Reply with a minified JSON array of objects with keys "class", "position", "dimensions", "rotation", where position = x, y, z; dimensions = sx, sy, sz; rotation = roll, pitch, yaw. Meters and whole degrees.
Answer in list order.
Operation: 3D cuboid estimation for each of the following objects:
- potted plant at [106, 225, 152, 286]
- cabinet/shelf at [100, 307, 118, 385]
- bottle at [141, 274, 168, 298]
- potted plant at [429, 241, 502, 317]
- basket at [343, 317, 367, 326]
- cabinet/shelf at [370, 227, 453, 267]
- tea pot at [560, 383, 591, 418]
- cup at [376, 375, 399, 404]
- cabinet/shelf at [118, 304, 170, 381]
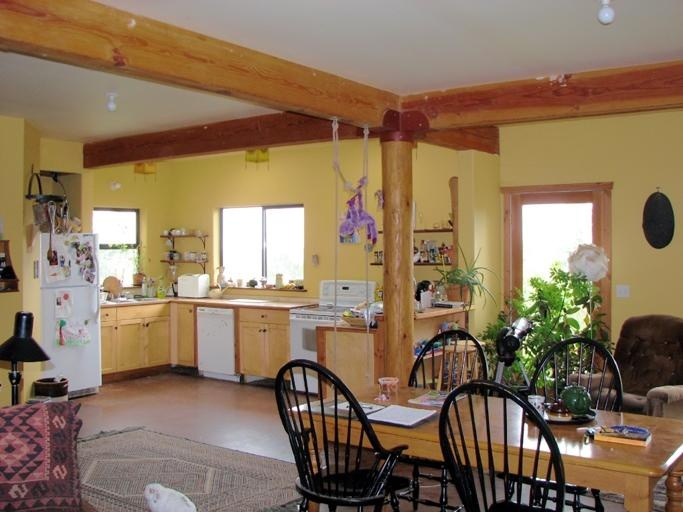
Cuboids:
[{"class":"potted plant","position":[-3.336,0.118,7.972],"dimensions":[0.234,0.721,0.660],"rotation":[0,2,29]},{"class":"cabinet/shelf","position":[-3.120,1.168,6.976],"dimensions":[0.090,0.969,0.221],"rotation":[0,2,44]},{"class":"bottle","position":[-2.931,0.490,8.110],"dimensions":[0.371,0.336,0.143],"rotation":[3,-1,-36]},{"class":"potted plant","position":[1.394,0.249,5.927],"dimensions":[0.704,0.497,0.708],"rotation":[-3,-8,43]},{"class":"basket","position":[0.124,0.660,5.131],"dimensions":[0.144,0.102,0.243],"rotation":[-2,1,-40]},{"class":"cabinet/shelf","position":[0.749,-0.196,6.162],"dimensions":[1.105,0.581,0.367],"rotation":[-2,-29,10]},{"class":"tea pot","position":[1.198,0.742,2.680],"dimensions":[0.157,0.144,0.155],"rotation":[1,-5,0]},{"class":"cup","position":[0.279,0.816,3.118],"dimensions":[0.128,0.116,0.124],"rotation":[1,-4,0]},{"class":"cabinet/shelf","position":[-2.800,1.226,7.293],"dimensions":[0.441,0.944,1.054],"rotation":[-4,-5,38]}]
